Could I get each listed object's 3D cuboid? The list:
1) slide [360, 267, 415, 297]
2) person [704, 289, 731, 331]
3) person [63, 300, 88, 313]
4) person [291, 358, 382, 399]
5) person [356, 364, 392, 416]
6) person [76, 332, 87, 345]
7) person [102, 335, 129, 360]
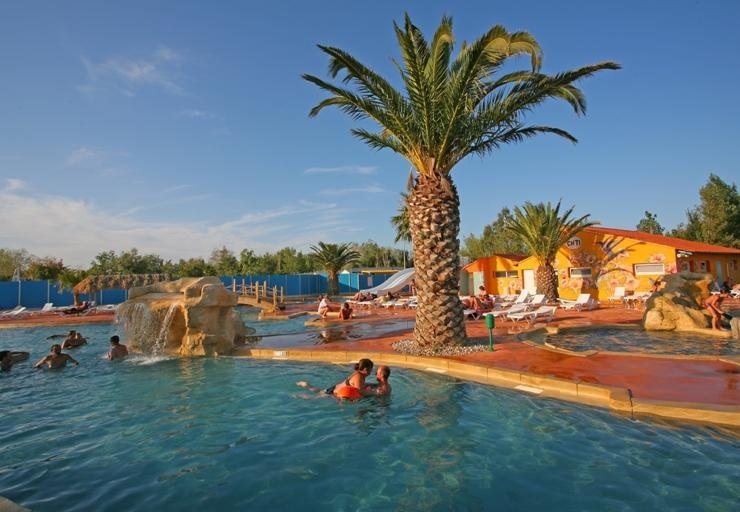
[{"bbox_3d":[1.696,1.909,29.816,1.654,2.502,5.766,-3,-5,41],"label":"slide"},{"bbox_3d":[12.366,1.916,14.246,0.710,1.297,2.013,2,7,40],"label":"person"},{"bbox_3d":[-18.631,3.177,25.609,0.762,0.282,0.994,-6,6,13],"label":"person"},{"bbox_3d":[-0.707,2.793,8.752,1.861,0.747,0.808,-10,4,-8],"label":"person"},{"bbox_3d":[0.098,2.715,8.325,0.672,0.638,1.073,-2,5,2],"label":"person"},{"bbox_3d":[-10.820,3.090,14.969,0.219,0.508,0.768,-6,6,-30],"label":"person"},{"bbox_3d":[-8.147,2.904,12.793,0.612,0.749,0.904,-6,7,-32],"label":"person"}]
